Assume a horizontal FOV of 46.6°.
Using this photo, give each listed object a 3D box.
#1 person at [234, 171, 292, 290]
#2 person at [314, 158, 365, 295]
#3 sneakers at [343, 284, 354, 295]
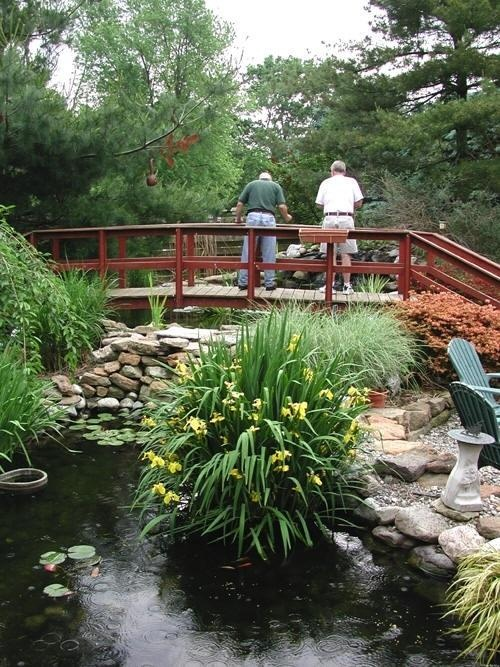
[{"bbox_3d":[0.178,-1.418,7.817,0.701,1.634,1.448,2,7,2],"label":"person"},{"bbox_3d":[1.083,-1.329,7.163,0.538,1.666,1.516,2,7,8],"label":"person"},{"bbox_3d":[1.217,-0.538,7.155,0.083,0.097,0.239,-2,-2,15],"label":"sneakers"}]
